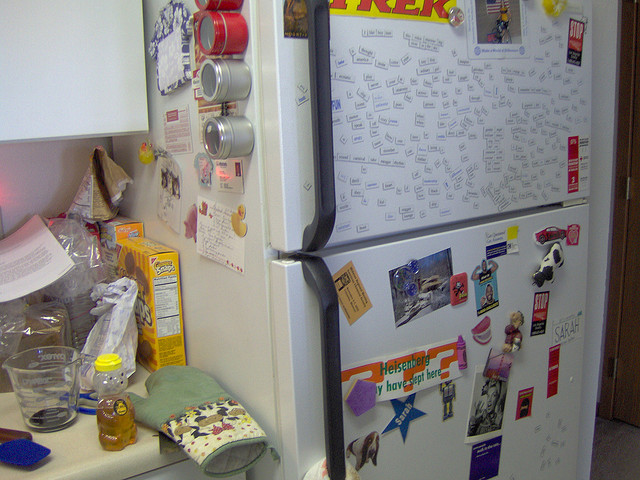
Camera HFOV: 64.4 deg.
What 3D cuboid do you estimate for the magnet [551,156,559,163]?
[{"bbox_3d":[0.640,-0.218,1.385,0.016,0.019,0.006,4,6,-13],"label":"magnet"}]

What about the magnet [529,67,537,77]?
[{"bbox_3d":[0.540,-0.425,1.291,0.019,0.014,0.002,-28,26,-29],"label":"magnet"}]

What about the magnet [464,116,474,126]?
[{"bbox_3d":[0.356,-0.283,1.212,0.022,0.016,0.004,13,-3,-40],"label":"magnet"}]

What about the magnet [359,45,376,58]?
[{"bbox_3d":[0.098,-0.393,1.061,0.037,0.017,0.003,11,2,-36],"label":"magnet"}]

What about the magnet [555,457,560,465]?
[{"bbox_3d":[0.734,0.681,1.567,0.015,0.017,0.004,3,9,-20],"label":"magnet"}]

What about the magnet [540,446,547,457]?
[{"bbox_3d":[0.668,0.631,1.518,0.009,0.038,0.009,16,-7,-25],"label":"magnet"}]

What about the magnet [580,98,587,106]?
[{"bbox_3d":[0.731,-0.382,1.408,0.023,0.019,0.013,-6,7,-34],"label":"magnet"}]

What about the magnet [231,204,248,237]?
[{"bbox_3d":[-0.179,-0.044,1.130,0.010,0.084,0.050,-2,12,-40],"label":"magnet"}]

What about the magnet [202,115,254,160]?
[{"bbox_3d":[-0.192,-0.202,1.073,0.085,0.108,0.088,-7,7,-35],"label":"magnet"}]

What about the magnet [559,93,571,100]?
[{"bbox_3d":[0.660,-0.380,1.371,0.033,0.019,0.007,0,3,-29],"label":"magnet"}]

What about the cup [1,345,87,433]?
[{"bbox_3d":[-0.670,0.336,1.280,0.186,0.187,0.169,2,8,0],"label":"cup"}]

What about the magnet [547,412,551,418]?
[{"bbox_3d":[0.680,0.518,1.508,0.011,0.013,0.003,-4,9,-18],"label":"magnet"}]

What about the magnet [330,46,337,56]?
[{"bbox_3d":[0.027,-0.382,1.028,0.017,0.016,0.004,-13,23,-20],"label":"magnet"}]

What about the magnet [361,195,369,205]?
[{"bbox_3d":[0.097,-0.085,1.105,0.015,0.017,0.004,-1,8,-39],"label":"magnet"}]

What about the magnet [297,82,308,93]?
[{"bbox_3d":[-0.035,-0.303,1.016,0.020,0.019,0.005,-12,23,-17],"label":"magnet"}]

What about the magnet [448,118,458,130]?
[{"bbox_3d":[0.310,-0.272,1.189,0.021,0.016,0.003,-37,29,-22],"label":"magnet"}]

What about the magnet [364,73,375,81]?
[{"bbox_3d":[0.104,-0.343,1.072,0.026,0.015,0.004,-18,26,-27],"label":"magnet"}]

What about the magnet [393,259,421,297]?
[{"bbox_3d":[0.203,0.093,1.136,0.067,0.084,0.019,-4,7,-30],"label":"magnet"}]

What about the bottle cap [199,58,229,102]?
[{"bbox_3d":[-0.224,-0.332,1.056,0.041,0.081,0.098,-16,27,-27],"label":"bottle cap"}]

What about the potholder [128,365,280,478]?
[{"bbox_3d":[-0.294,0.419,1.192,0.204,0.110,0.420,-26,33,-38],"label":"potholder"}]

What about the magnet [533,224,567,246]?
[{"bbox_3d":[0.641,-0.016,1.409,0.089,0.034,0.058,-18,28,-19],"label":"magnet"}]

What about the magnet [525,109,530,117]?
[{"bbox_3d":[0.534,-0.325,1.306,0.009,0.020,0.017,-14,17,-25],"label":"magnet"}]

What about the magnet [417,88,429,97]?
[{"bbox_3d":[0.231,-0.329,1.140,0.031,0.022,0.004,-16,24,-24],"label":"magnet"}]

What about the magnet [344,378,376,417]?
[{"bbox_3d":[0.093,0.347,1.164,0.080,0.073,0.021,-42,26,-16],"label":"magnet"}]

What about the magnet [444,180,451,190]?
[{"bbox_3d":[0.301,-0.130,1.206,0.004,0.016,0.017,0,48,49],"label":"magnet"}]

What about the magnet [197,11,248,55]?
[{"bbox_3d":[-0.203,-0.418,1.057,0.110,0.095,0.094,-10,23,-32],"label":"magnet"}]

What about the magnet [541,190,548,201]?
[{"bbox_3d":[0.613,-0.120,1.385,0.018,0.020,0.005,-17,15,-35],"label":"magnet"}]

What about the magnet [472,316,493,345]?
[{"bbox_3d":[0.416,0.233,1.312,0.038,0.048,0.053,-27,23,2],"label":"magnet"}]

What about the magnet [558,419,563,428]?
[{"bbox_3d":[0.731,0.557,1.544,0.012,0.029,0.006,-1,4,8],"label":"magnet"}]

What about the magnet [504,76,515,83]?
[{"bbox_3d":[0.469,-0.395,1.257,0.021,0.019,0.007,2,0,-19],"label":"magnet"}]

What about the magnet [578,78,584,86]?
[{"bbox_3d":[0.713,-0.430,1.390,0.011,0.018,0.014,-6,32,-4],"label":"magnet"}]

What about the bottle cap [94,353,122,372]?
[{"bbox_3d":[-0.483,0.279,1.154,0.061,0.029,0.068,1,6,1],"label":"bottle cap"}]

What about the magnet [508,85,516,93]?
[{"bbox_3d":[0.478,-0.375,1.265,0.019,0.016,0.011,13,13,33],"label":"magnet"}]

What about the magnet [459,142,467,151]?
[{"bbox_3d":[0.340,-0.222,1.213,0.017,0.014,0.003,-19,18,-35],"label":"magnet"}]

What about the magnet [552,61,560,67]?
[{"bbox_3d":[0.619,-0.459,1.332,0.020,0.017,0.005,-6,6,-21],"label":"magnet"}]

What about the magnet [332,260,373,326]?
[{"bbox_3d":[0.069,0.113,1.167,0.087,0.134,0.085,-1,17,-16],"label":"magnet"}]

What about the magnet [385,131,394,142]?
[{"bbox_3d":[0.151,-0.225,1.111,0.019,0.013,0.002,19,-20,-38],"label":"magnet"}]

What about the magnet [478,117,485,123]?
[{"bbox_3d":[0.390,-0.288,1.230,0.012,0.014,0.004,-4,8,-25],"label":"magnet"}]

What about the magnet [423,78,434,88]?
[{"bbox_3d":[0.245,-0.351,1.145,0.026,0.020,0.004,-17,25,-27],"label":"magnet"}]

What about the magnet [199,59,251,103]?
[{"bbox_3d":[-0.201,-0.335,1.073,0.116,0.101,0.083,-17,27,-42],"label":"magnet"}]

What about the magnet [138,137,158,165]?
[{"bbox_3d":[-0.484,-0.260,1.455,0.058,0.103,0.068,0,15,-13],"label":"magnet"}]

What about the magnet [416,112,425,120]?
[{"bbox_3d":[0.226,-0.277,1.144,0.023,0.017,0.003,-14,24,-21],"label":"magnet"}]

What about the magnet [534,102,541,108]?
[{"bbox_3d":[0.566,-0.350,1.321,0.014,0.017,0.004,-5,4,-22],"label":"magnet"}]

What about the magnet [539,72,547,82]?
[{"bbox_3d":[0.576,-0.419,1.313,0.011,0.022,0.004,26,-1,-19],"label":"magnet"}]

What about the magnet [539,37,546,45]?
[{"bbox_3d":[0.569,-0.504,1.295,0.014,0.016,0.004,-1,0,-19],"label":"magnet"}]

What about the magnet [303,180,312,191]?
[{"bbox_3d":[-0.027,-0.112,1.045,0.014,0.017,0.004,-1,10,-15],"label":"magnet"}]

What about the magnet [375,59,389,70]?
[{"bbox_3d":[0.132,-0.372,1.083,0.034,0.020,0.003,-15,24,-22],"label":"magnet"}]
